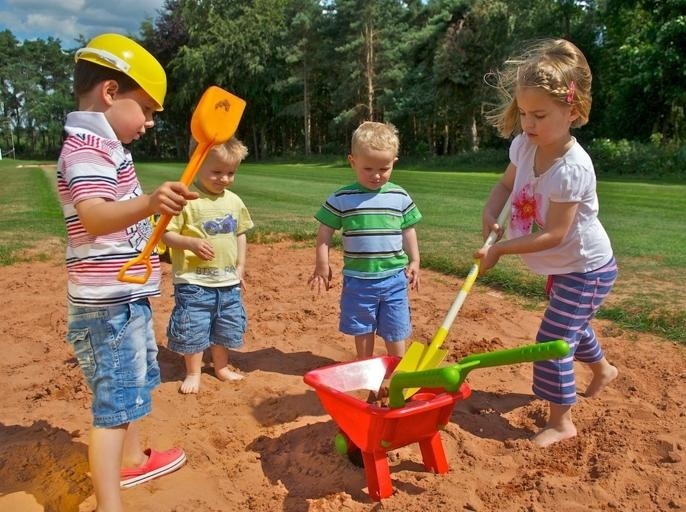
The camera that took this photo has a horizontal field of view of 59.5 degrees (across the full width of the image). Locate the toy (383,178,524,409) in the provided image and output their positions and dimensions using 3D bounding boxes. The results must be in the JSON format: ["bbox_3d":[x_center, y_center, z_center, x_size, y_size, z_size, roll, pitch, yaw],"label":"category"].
[{"bbox_3d":[0.770,0.237,3.893,0.214,1.710,0.524,33,-1,43],"label":"toy"}]

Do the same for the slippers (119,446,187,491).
[{"bbox_3d":[-1.217,1.335,3.859,0.364,0.143,0.154,-17,12,-34],"label":"slippers"}]

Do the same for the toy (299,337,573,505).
[{"bbox_3d":[0.453,0.838,3.739,0.907,0.941,1.541,-4,11,-32],"label":"toy"}]
